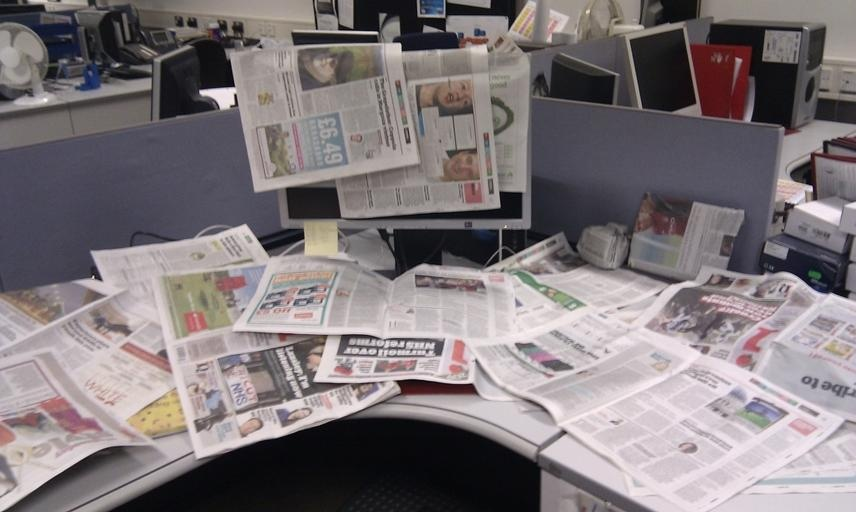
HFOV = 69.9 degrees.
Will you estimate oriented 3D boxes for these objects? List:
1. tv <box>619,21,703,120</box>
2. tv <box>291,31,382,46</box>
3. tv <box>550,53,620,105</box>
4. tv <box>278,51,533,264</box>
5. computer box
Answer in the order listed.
[{"bbox_3d":[0.958,-0.755,2.514,0.444,0.365,0.138,-19,29,-35],"label":"tv"},{"bbox_3d":[-0.299,-0.711,1.986,0.262,0.038,0.341,-7,23,-12],"label":"tv"},{"bbox_3d":[0.591,-0.695,2.385,0.089,0.167,0.299,-17,27,-30],"label":"tv"},{"bbox_3d":[0.118,-0.310,2.092,0.944,0.615,0.324,-3,15,7],"label":"tv"},{"bbox_3d":[1.742,-0.947,3.198,0.471,0.450,0.276,14,26,42],"label":"computer box"}]
